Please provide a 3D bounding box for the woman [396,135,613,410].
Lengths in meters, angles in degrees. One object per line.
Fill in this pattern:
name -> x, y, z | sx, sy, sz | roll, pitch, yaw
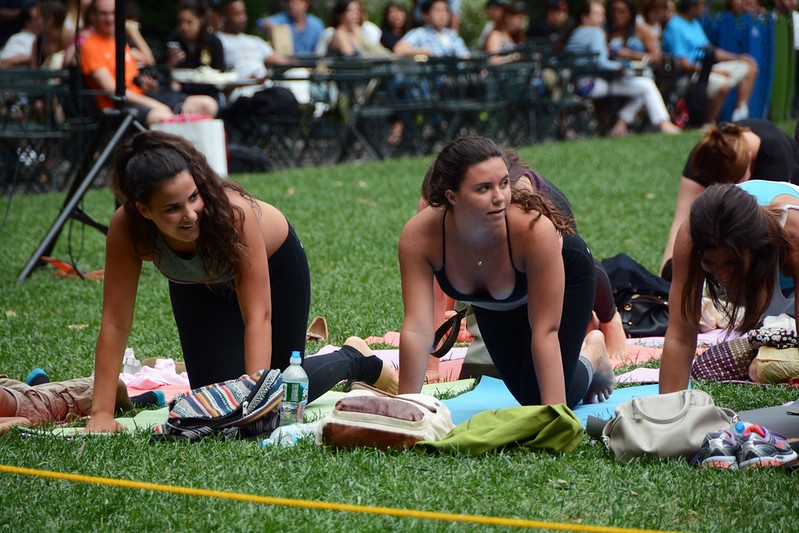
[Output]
woman -> 0.760, 0.179, 6.211 | 1.585, 1.793, 1.088 | -2, 4, -42

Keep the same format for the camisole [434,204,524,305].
camisole -> 0.531, -0.181, 5.918 | 0.373, 0.532, 0.395 | -15, 23, 2

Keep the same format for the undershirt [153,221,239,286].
undershirt -> -1.227, -0.051, 6.010 | 0.505, 0.278, 0.505 | -3, -31, 22

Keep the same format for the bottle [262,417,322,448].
bottle -> -0.602, 0.902, 5.513 | 0.340, 0.146, 0.271 | -2, 14, -9

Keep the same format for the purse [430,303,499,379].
purse -> 0.395, 0.378, 6.971 | 0.394, 0.290, 0.584 | 22, 48, 13

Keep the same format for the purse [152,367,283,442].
purse -> -0.973, 0.789, 5.566 | 0.505, 0.229, 0.437 | -3, 7, -1

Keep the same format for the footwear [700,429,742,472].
footwear -> 1.778, 0.976, 5.376 | 0.181, 0.188, 0.430 | -6, -6, 36
